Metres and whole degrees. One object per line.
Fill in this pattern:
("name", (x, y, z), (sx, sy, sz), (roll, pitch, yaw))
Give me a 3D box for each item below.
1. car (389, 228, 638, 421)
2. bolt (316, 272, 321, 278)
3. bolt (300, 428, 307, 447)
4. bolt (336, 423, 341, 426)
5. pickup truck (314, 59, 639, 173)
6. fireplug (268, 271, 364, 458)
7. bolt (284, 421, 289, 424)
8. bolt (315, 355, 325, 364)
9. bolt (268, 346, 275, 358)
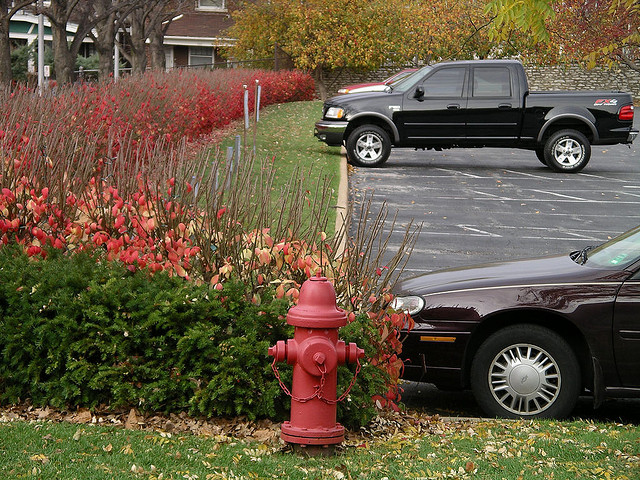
("car", (1.639, 0.824, 5.907), (2.277, 0.894, 1.198), (0, 5, 4))
("bolt", (-0.015, 0.248, 4.787), (0.029, 0.035, 0.029), (-2, 8, -13))
("bolt", (-0.118, 1.383, 4.622), (0.043, 0.134, 0.043), (2, 13, 0))
("bolt", (0.127, 1.320, 4.748), (0.040, 0.015, 0.042), (1, 1, 10))
("pickup truck", (4.364, -3.340, 18.145), (7.660, 2.900, 3.452), (2, 6, 0))
("fireplug", (-0.046, 0.935, 4.777), (0.572, 1.245, 0.559), (1, -1, 24))
("bolt", (-0.240, 1.300, 4.720), (0.028, 0.011, 0.030), (-3, 7, -7))
("bolt", (-0.003, 0.811, 4.556), (0.042, 0.047, 0.080), (-8, -10, 39))
("bolt", (-0.342, 0.776, 4.637), (0.044, 0.054, 0.055), (1, 14, -7))
